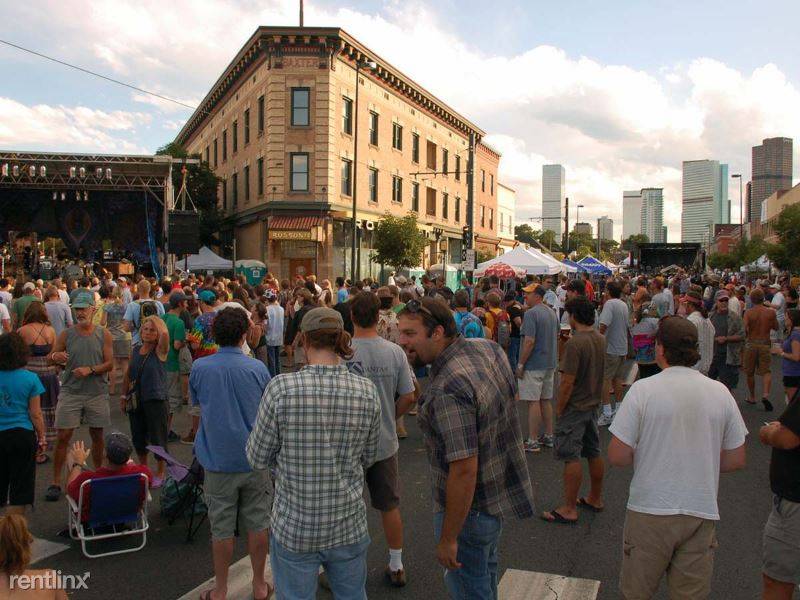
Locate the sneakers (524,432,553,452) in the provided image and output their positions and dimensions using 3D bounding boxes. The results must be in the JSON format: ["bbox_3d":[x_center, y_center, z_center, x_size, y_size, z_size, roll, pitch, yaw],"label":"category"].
[{"bbox_3d":[1.992,1.996,11.434,0.432,0.232,0.197,0,-2,-14],"label":"sneakers"}]

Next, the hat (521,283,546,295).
[{"bbox_3d":[1.982,-0.218,11.946,0.294,0.173,0.227,8,-2,6],"label":"hat"}]

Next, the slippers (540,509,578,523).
[{"bbox_3d":[1.799,2.392,9.089,0.313,0.101,0.157,3,-5,10],"label":"slippers"}]

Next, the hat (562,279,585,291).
[{"bbox_3d":[2.955,-0.260,13.779,0.353,0.220,0.267,15,13,36],"label":"hat"}]

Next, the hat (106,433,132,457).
[{"bbox_3d":[-2.956,1.523,8.513,0.212,0.286,0.278,7,24,-28],"label":"hat"}]

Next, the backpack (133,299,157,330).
[{"bbox_3d":[-3.651,0.209,11.527,0.321,0.512,0.441,2,-9,-24],"label":"backpack"}]

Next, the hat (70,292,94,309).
[{"bbox_3d":[-4.046,0.006,10.292,0.260,0.222,0.385,0,2,-9],"label":"hat"}]

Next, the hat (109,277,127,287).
[{"bbox_3d":[-6.768,-0.438,19.341,0.405,0.250,0.267,13,8,19],"label":"hat"}]

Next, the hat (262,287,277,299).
[{"bbox_3d":[-2.460,-0.116,15.317,0.165,0.161,0.248,-1,12,-19],"label":"hat"}]

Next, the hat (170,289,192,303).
[{"bbox_3d":[-3.332,-0.058,12.308,0.184,0.152,0.325,9,11,12],"label":"hat"}]

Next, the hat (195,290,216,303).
[{"bbox_3d":[-3.002,-0.027,12.429,0.256,0.165,0.196,25,26,24],"label":"hat"}]

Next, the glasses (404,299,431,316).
[{"bbox_3d":[0.159,0.065,6.575,0.139,0.051,0.133,21,-3,-36],"label":"glasses"}]

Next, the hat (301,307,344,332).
[{"bbox_3d":[-0.625,0.124,6.724,0.262,0.221,0.450,5,4,-11],"label":"hat"}]

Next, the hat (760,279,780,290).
[{"bbox_3d":[10.533,-0.429,22.967,0.482,0.189,0.345,6,5,6],"label":"hat"}]

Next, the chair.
[{"bbox_3d":[-3.126,2.106,8.716,0.763,0.993,0.986,-3,20,-24],"label":"chair"}]

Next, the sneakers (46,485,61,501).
[{"bbox_3d":[-4.092,2.267,9.553,0.101,0.100,0.228,0,1,-3],"label":"sneakers"}]
